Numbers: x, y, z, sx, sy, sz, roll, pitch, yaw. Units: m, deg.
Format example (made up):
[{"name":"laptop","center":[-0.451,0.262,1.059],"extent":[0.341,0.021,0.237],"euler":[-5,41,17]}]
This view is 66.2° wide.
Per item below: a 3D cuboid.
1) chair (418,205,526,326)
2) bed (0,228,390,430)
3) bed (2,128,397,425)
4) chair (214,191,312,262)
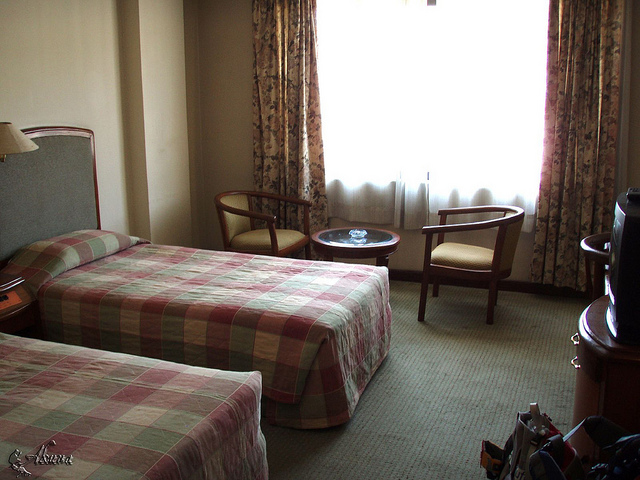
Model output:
[{"name":"chair","center":[1.350,0.139,4.406],"extent":[0.807,0.928,1.037],"euler":[6,17,21]},{"name":"bed","center":[-0.786,0.418,3.187],"extent":[1.983,0.754,1.287],"euler":[4,11,19]},{"name":"bed","center":[-0.827,0.076,3.638],"extent":[2.592,1.791,1.633],"euler":[4,13,18]},{"name":"chair","center":[-0.525,-0.178,4.904],"extent":[0.757,0.919,0.795],"euler":[7,15,33]}]
